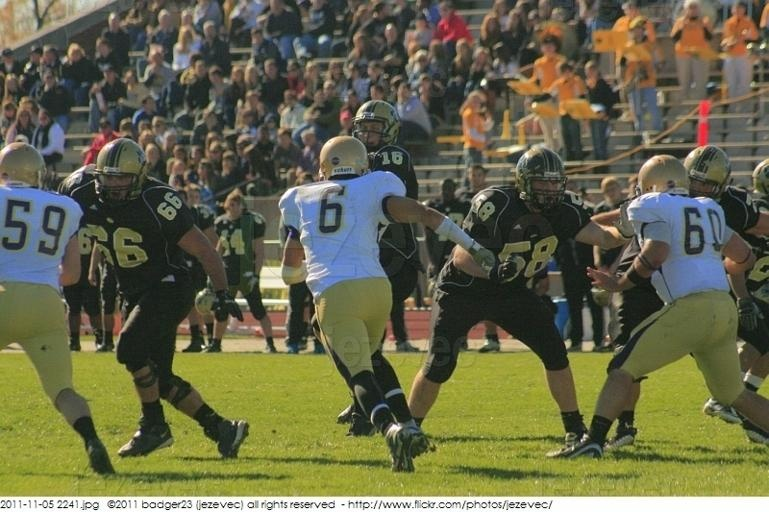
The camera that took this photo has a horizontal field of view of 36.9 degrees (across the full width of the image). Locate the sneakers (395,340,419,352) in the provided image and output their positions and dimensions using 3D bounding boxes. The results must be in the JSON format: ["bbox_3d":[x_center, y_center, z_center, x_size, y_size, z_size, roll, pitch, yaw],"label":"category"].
[{"bbox_3d":[0.298,1.166,15.071,0.234,0.109,0.161,9,-7,-36],"label":"sneakers"}]

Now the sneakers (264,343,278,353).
[{"bbox_3d":[-1.562,1.230,15.779,0.175,0.158,0.400,-1,8,-6],"label":"sneakers"}]

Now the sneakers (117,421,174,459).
[{"bbox_3d":[-2.199,1.677,10.838,0.590,0.282,0.211,-12,17,-38],"label":"sneakers"}]

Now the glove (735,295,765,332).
[{"bbox_3d":[3.564,0.558,11.286,0.271,0.337,0.353,1,-30,6],"label":"glove"}]

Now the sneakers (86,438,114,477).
[{"bbox_3d":[-2.516,1.750,10.147,0.149,0.395,0.168,-31,14,1],"label":"sneakers"}]

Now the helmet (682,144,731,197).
[{"bbox_3d":[3.235,-0.841,11.689,0.420,0.457,0.549,6,-15,30],"label":"helmet"}]

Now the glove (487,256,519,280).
[{"bbox_3d":[1.091,0.088,10.548,0.217,0.215,0.064,-34,-62,31],"label":"glove"}]

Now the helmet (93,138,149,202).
[{"bbox_3d":[-2.441,-0.776,10.651,0.429,0.450,0.568,1,18,3],"label":"helmet"}]

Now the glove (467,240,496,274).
[{"bbox_3d":[0.867,0.006,10.384,0.312,0.179,0.108,41,-22,-17],"label":"glove"}]

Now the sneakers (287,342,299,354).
[{"bbox_3d":[-1.274,1.243,15.764,0.186,0.241,0.135,1,-24,-8],"label":"sneakers"}]

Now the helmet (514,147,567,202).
[{"bbox_3d":[1.452,-0.745,10.747,0.418,0.478,0.558,1,3,-16],"label":"helmet"}]

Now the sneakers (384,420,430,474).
[{"bbox_3d":[0.221,1.629,10.255,0.246,0.584,0.290,-2,19,24],"label":"sneakers"}]

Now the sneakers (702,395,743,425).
[{"bbox_3d":[3.403,1.561,11.770,0.456,0.198,0.155,11,17,40],"label":"sneakers"}]

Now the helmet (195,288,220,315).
[{"bbox_3d":[-1.642,0.421,11.077,0.234,0.257,0.270,-6,2,-38],"label":"helmet"}]

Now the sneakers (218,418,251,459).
[{"bbox_3d":[-1.415,1.649,10.657,0.231,0.445,0.167,6,37,-8],"label":"sneakers"}]

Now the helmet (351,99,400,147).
[{"bbox_3d":[-0.083,-1.423,12.351,0.419,0.406,0.537,-1,-6,15],"label":"helmet"}]

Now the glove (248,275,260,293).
[{"bbox_3d":[-1.767,0.343,15.590,0.182,0.172,0.059,1,-14,-27],"label":"glove"}]

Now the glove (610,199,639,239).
[{"bbox_3d":[2.315,-0.389,10.965,0.253,0.215,0.339,-13,-31,-19],"label":"glove"}]

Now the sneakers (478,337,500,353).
[{"bbox_3d":[1.448,1.199,15.757,0.383,0.244,0.130,2,3,7],"label":"sneakers"}]
